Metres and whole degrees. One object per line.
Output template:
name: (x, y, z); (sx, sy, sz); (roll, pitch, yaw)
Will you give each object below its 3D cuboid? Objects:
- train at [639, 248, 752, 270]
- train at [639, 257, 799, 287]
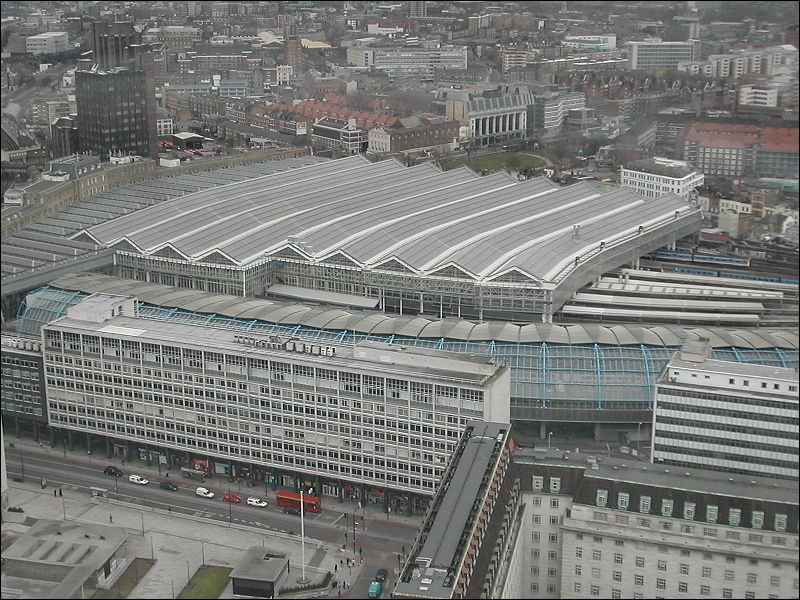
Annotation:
train: (36.664, -5.254, 145.623); (10.960, 1.886, 1.304); (6, 45, 8)
train: (38.558, -3.438, 140.650); (17.851, 2.685, 10.702); (2, 16, 10)
